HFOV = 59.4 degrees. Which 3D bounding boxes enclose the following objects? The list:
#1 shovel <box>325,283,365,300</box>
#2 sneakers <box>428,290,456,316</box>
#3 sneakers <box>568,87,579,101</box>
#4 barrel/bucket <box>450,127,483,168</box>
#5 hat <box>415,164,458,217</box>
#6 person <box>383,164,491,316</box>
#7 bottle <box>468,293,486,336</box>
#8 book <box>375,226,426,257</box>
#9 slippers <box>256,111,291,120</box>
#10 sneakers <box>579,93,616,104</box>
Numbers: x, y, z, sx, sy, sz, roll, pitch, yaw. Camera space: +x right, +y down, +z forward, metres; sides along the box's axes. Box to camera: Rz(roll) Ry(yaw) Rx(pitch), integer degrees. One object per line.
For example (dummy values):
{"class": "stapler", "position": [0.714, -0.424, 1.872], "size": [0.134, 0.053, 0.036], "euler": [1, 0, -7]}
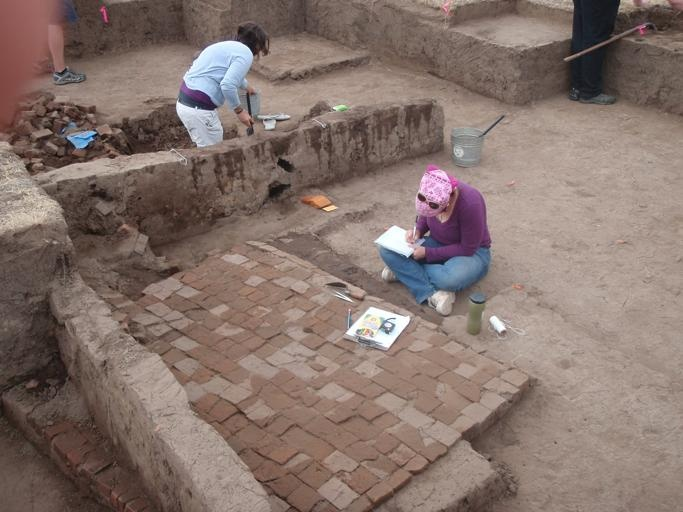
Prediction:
{"class": "shovel", "position": [0.053, 0.300, 5.278], "size": [0.251, 0.056, 0.163], "euler": [22, 29, 21]}
{"class": "sneakers", "position": [0.915, 0.392, 5.232], "size": [0.269, 0.161, 0.193], "euler": [-13, 34, -13]}
{"class": "sneakers", "position": [3.374, -2.347, 8.729], "size": [0.107, 0.067, 0.185], "euler": [19, 67, 32]}
{"class": "barrel/bucket", "position": [1.533, -1.315, 7.353], "size": [0.465, 0.387, 0.469], "euler": [-1, 15, 0]}
{"class": "hat", "position": [0.797, -0.549, 5.067], "size": [0.313, 0.329, 0.391], "euler": [29, 52, 22]}
{"class": "person", "position": [0.839, -0.240, 5.296], "size": [0.983, 1.203, 0.975], "euler": [-11, 35, -1]}
{"class": "bottle", "position": [1.099, 0.462, 4.931], "size": [0.120, 0.377, 0.127], "euler": [-4, 33, 2]}
{"class": "book", "position": [0.496, -0.123, 5.408], "size": [0.296, 0.076, 0.312], "euler": [27, 46, 29]}
{"class": "slippers", "position": [-0.916, -1.871, 8.063], "size": [0.322, 0.058, 0.200], "euler": [-1, 28, 2]}
{"class": "sneakers", "position": [3.660, -2.241, 8.586], "size": [0.406, 0.174, 0.209], "euler": [5, 22, 19]}
